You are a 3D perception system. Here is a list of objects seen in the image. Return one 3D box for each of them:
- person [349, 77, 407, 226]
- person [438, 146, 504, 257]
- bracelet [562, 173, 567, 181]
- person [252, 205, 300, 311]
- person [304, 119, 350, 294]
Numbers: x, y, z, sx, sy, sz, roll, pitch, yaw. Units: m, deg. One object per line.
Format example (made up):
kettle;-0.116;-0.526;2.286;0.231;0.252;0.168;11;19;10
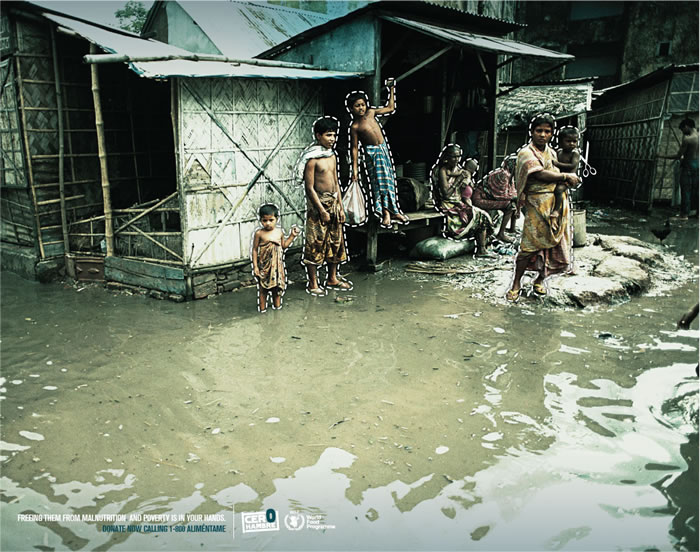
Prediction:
person;0.372;-1.755;9.377;0.825;2.125;1.008;0;9;10
person;1.765;-1.189;10.220;0.860;1.726;0.521;-1;9;4
bracelet;2.555;-1.192;7.750;0.045;0.077;0.079;17;-25;-2
person;-0.952;-0.214;8.060;0.523;1.356;0.394;-3;9;-6
person;-0.374;-0.900;8.614;0.567;2.330;0.592;-1;9;2
